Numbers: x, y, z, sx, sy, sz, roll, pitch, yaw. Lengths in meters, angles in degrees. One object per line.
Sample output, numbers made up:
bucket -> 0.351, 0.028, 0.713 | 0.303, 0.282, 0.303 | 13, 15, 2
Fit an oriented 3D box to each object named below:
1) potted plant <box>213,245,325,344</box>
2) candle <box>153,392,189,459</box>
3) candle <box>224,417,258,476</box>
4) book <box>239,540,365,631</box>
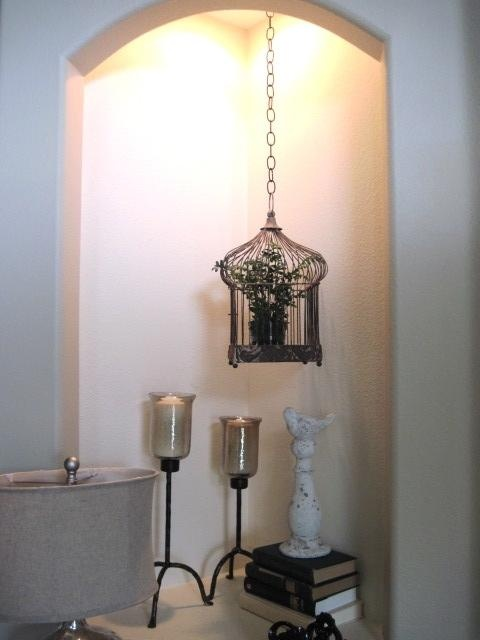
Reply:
potted plant -> 0.076, -0.020, 2.271 | 0.371, 0.392, 0.318 | 3, -6, -28
candle -> -0.206, 0.323, 2.170 | 0.126, 0.188, 0.051 | -3, -2, -5
candle -> 0.025, 0.405, 2.285 | 0.160, 0.188, 0.090 | -1, -3, -42
book -> 0.162, 0.759, 2.043 | 0.272, 0.201, 0.323 | -4, -3, 36
